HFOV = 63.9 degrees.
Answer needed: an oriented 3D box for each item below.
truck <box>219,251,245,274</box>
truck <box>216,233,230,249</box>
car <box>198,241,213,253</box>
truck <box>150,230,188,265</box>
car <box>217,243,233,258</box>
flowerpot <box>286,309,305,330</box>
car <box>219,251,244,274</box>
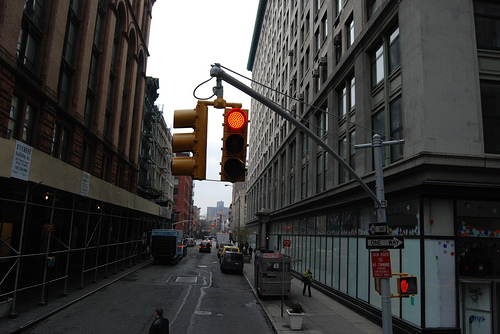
[{"bbox_3d":[-1.972,9.622,41.194,1.429,1.465,2.724,3,-4,-7],"label":"truck"},{"bbox_3d":[-5.178,13.335,74.147,1.754,1.664,2.969,3,-6,-8],"label":"truck"},{"bbox_3d":[-7.529,13.534,67.914,1.945,2.070,2.050,3,-13,-9],"label":"car"},{"bbox_3d":[-9.307,8.883,45.830,2.618,3.080,5.537,2,-7,-1],"label":"truck"},{"bbox_3d":[-4.370,13.740,66.299,2.200,2.240,3.922,2,-2,-3],"label":"car"},{"bbox_3d":[2.539,8.622,22.515,1.010,0.878,0.919,3,-12,-3],"label":"flowerpot"},{"bbox_3d":[-1.798,9.655,40.480,2.148,2.226,1.139,2,-12,-3],"label":"car"}]
